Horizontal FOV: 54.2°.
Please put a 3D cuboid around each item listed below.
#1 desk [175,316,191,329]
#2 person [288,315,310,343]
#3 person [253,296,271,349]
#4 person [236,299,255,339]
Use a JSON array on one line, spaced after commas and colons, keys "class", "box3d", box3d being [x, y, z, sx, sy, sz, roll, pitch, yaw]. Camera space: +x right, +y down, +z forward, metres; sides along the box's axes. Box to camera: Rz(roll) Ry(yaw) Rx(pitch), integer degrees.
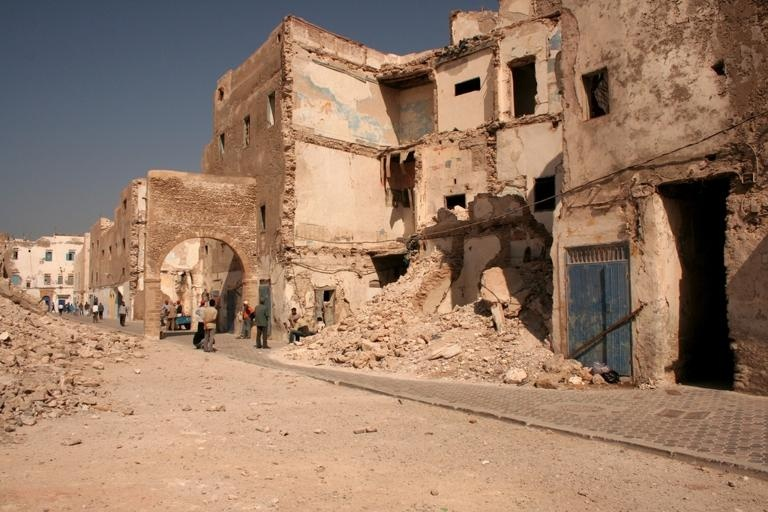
[{"class": "desk", "box3d": [-9.051, 2.952, 33.766, 0.670, 0.834, 1.002, 1, -3, -14]}, {"class": "person", "box3d": [-2.909, 2.462, 25.313, 0.656, 1.006, 0.330, -8, -44, 3]}, {"class": "person", "box3d": [-3.978, 2.244, 24.331, 0.366, 1.432, 0.802, -1, 10, -8]}, {"class": "person", "box3d": [-5.273, 2.403, 28.738, 0.539, 1.350, 0.805, 2, -40, -7]}]
